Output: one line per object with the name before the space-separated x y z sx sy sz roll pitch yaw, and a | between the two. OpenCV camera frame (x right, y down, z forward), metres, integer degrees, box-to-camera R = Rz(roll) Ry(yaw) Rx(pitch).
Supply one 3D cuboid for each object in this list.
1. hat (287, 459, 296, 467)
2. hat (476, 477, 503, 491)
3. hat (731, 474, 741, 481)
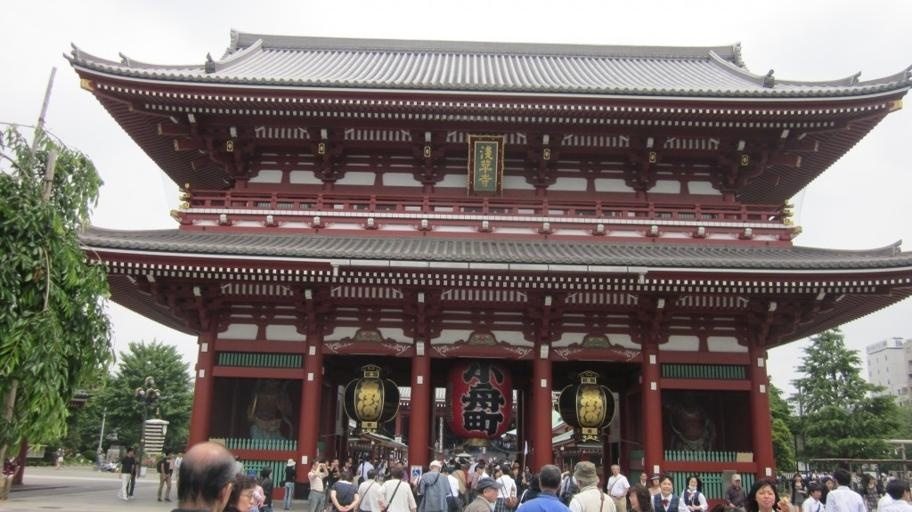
hat | -6.493 8.086 32.311 0.308 0.353 0.381 6 -27 -7
hat | 1.001 7.421 26.797 0.557 0.466 0.414 2 -27 0
hat | 10.633 8.395 31.206 0.463 0.172 0.563 1 -7 -2
